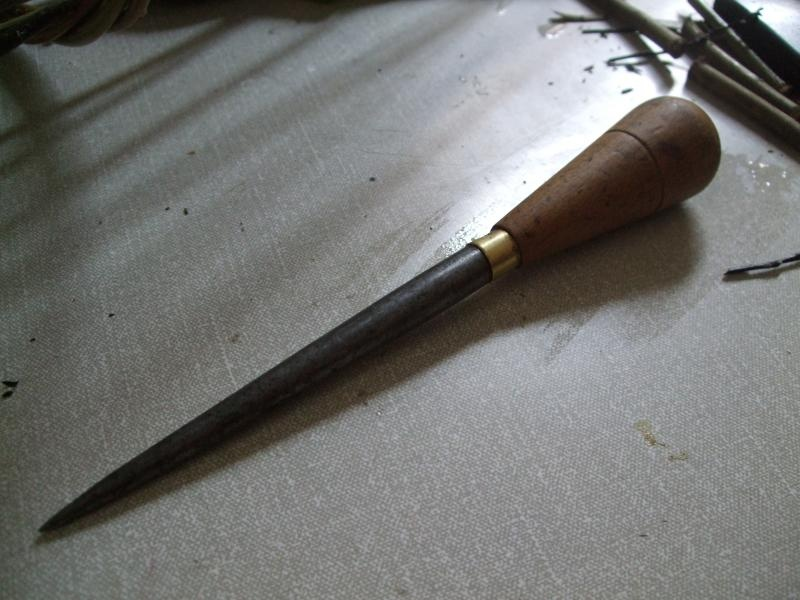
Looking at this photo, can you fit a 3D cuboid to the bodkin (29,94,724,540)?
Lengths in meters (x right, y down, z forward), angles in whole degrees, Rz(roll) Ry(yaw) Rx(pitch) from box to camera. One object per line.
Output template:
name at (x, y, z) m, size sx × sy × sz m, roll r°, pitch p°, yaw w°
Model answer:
bodkin at (-0.035, 0.047, 1.239) m, size 0.939 × 0.157 × 0.152 m, roll -35°, pitch 24°, yaw -10°
